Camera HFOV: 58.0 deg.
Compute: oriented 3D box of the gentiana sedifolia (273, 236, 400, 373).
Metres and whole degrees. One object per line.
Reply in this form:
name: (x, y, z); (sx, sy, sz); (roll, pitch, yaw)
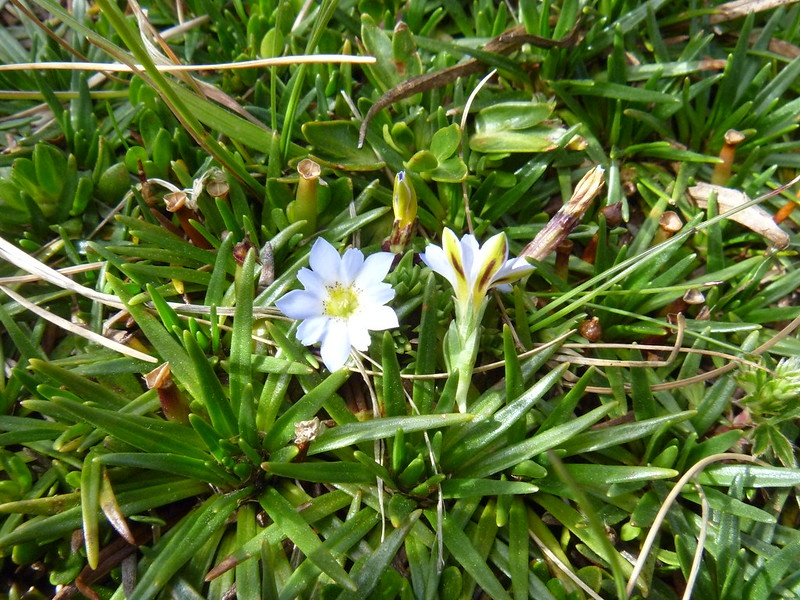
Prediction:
gentiana sedifolia: (-0.154, -0.018, 1.952); (0.354, 0.096, 0.396); (-19, 37, -3)
